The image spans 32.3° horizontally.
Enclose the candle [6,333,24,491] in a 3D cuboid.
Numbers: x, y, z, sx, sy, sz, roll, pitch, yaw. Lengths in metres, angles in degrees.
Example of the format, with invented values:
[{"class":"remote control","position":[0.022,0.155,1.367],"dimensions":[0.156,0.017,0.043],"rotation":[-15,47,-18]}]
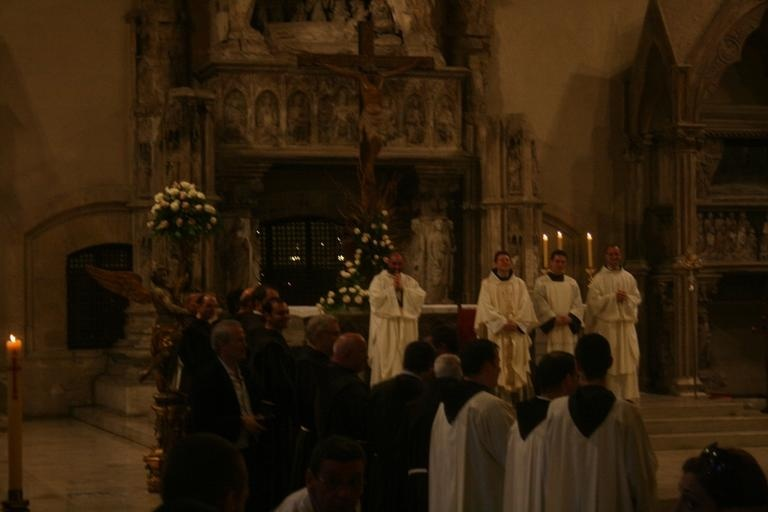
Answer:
[{"class":"candle","position":[-4.174,1.754,14.985],"dimensions":[0.198,1.745,0.339],"rotation":[2,-9,-15]}]
